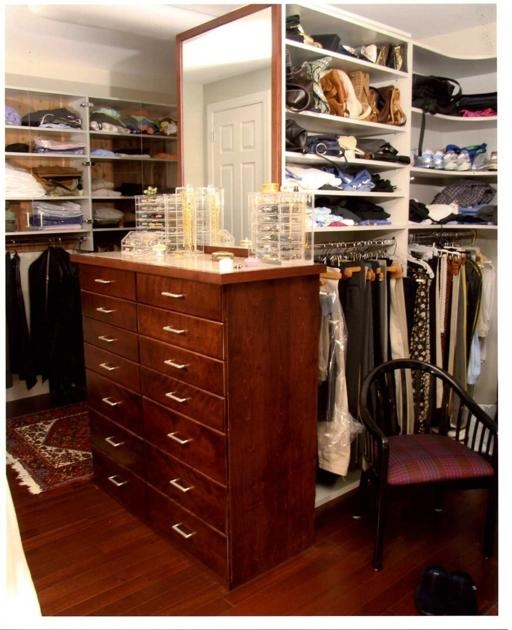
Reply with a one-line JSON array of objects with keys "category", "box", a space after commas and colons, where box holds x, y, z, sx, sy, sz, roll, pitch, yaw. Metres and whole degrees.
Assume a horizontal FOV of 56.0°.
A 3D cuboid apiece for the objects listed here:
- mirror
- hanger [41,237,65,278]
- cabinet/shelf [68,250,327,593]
[{"category": "mirror", "box": [-0.147, -0.933, 2.385, 0.164, 1.127, 0.850, -5, 7, -35]}, {"category": "hanger", "box": [-1.506, -0.382, 3.576, 0.217, 0.239, 0.075, -4, 7, -26]}, {"category": "cabinet/shelf", "box": [-0.206, 0.437, 1.926, 0.468, 1.151, 1.121, -7, 13, -43]}]
